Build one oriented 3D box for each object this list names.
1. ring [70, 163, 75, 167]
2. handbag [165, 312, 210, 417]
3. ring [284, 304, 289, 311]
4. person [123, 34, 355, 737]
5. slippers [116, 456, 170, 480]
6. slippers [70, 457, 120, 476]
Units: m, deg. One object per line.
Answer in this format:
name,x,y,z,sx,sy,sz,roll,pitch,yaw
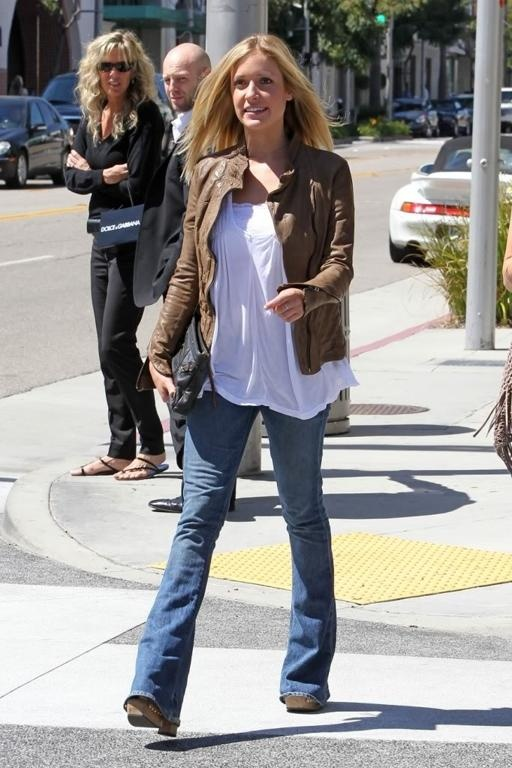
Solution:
ring,-0.962,-1.145,5.273,0.028,0.025,0.007,11,9,27
handbag,-0.162,-0.047,2.412,0.069,0.124,0.230,11,29,-5
ring,0.071,-0.171,2.280,0.010,0.012,0.010,1,5,0
person,-0.023,-0.028,2.452,0.528,1.720,0.843,2,5,5
slippers,-0.606,0.446,5.281,0.103,0.078,0.269,-6,1,36
slippers,-0.846,0.438,5.322,0.267,0.112,0.093,0,-1,-7
